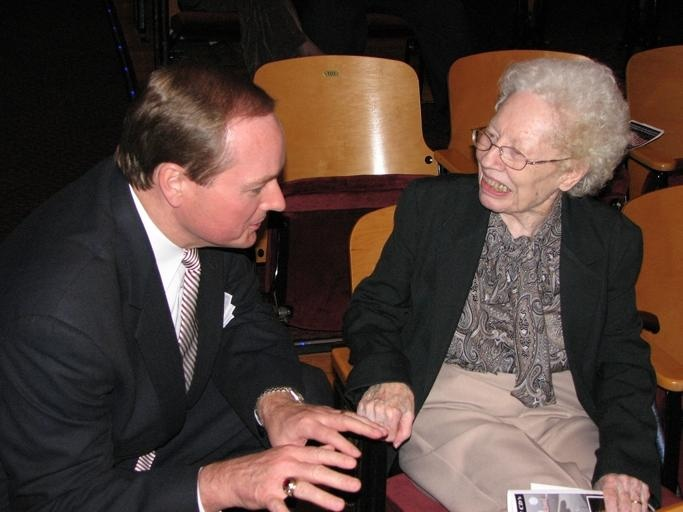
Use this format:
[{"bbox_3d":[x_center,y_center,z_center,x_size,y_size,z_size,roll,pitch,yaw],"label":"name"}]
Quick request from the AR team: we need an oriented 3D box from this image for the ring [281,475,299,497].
[{"bbox_3d":[-0.144,0.655,1.762,0.040,0.050,0.044,7,56,3],"label":"ring"}]

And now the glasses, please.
[{"bbox_3d":[0.614,-0.353,2.198,0.217,0.062,0.204,-3,29,-35],"label":"glasses"}]
